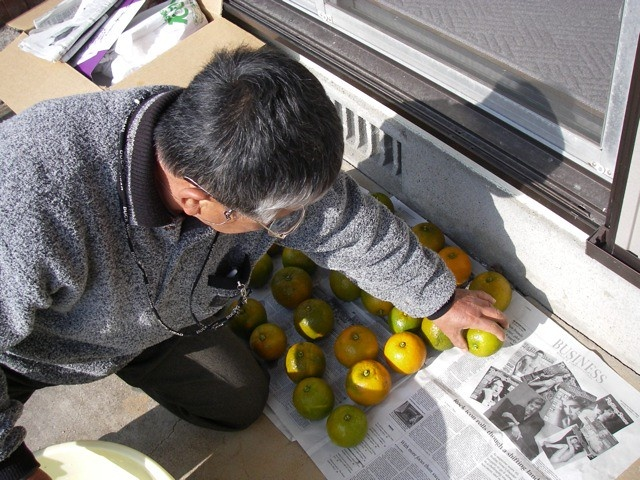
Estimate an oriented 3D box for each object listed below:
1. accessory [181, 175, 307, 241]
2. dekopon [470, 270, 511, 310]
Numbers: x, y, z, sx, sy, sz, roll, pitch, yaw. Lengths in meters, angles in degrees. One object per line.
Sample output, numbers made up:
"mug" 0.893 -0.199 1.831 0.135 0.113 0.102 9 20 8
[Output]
"accessory" -0.169 -0.061 1.270 0.200 0.053 0.150 32 31 -3
"dekopon" 0.660 0.183 1.978 0.167 0.158 0.157 4 43 5
